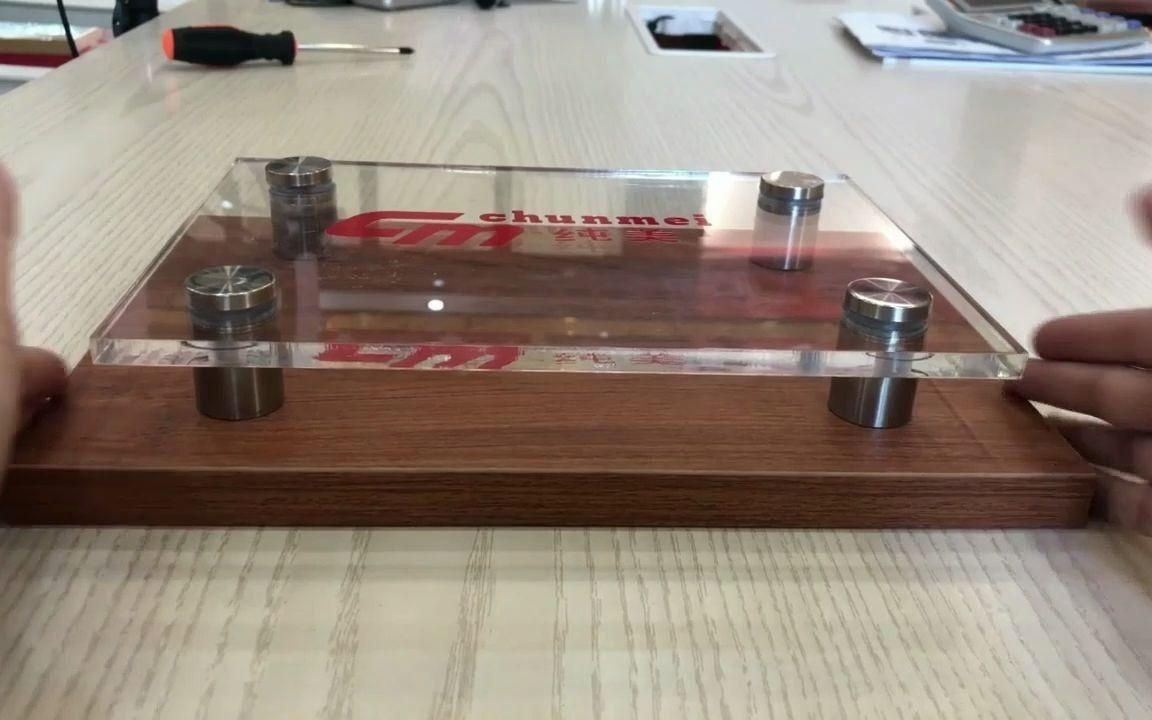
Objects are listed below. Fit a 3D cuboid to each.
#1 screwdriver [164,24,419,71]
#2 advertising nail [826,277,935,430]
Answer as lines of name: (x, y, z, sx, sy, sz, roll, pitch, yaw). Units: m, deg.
screwdriver: (-0.470, -0.520, 1.401, 0.387, 0.063, 0.126, -4, 25, -10)
advertising nail: (0.225, 0.001, 0.627, 0.066, 0.115, 0.078, 9, 32, 13)
